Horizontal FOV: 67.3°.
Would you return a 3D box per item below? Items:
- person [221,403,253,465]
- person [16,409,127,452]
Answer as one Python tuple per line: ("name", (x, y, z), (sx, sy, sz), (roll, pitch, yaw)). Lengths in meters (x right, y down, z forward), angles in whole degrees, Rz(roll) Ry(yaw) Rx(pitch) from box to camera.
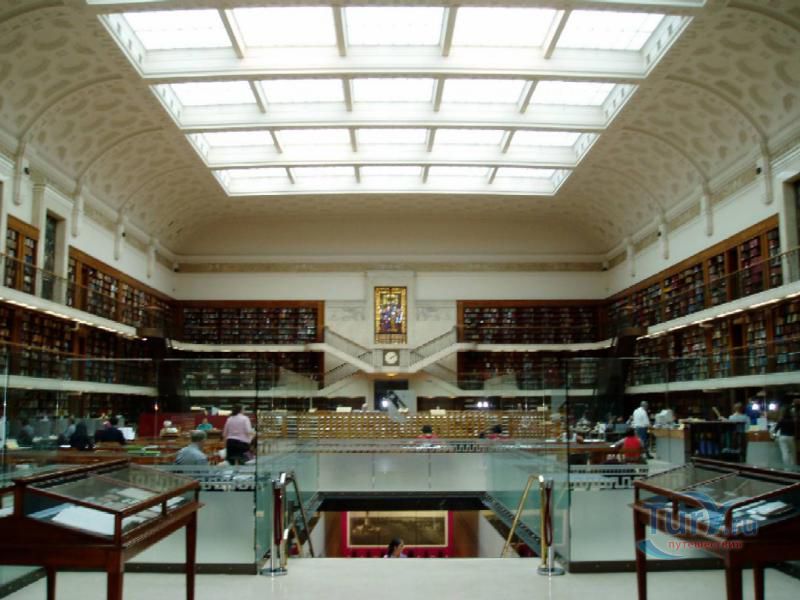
("person", (-1.703, 1.458, 6.320), (0.279, 0.775, 0.236), (2, 16, -18))
("person", (-3.287, 1.307, 5.961), (0.299, 0.345, 1.199), (-6, -14, 26))
